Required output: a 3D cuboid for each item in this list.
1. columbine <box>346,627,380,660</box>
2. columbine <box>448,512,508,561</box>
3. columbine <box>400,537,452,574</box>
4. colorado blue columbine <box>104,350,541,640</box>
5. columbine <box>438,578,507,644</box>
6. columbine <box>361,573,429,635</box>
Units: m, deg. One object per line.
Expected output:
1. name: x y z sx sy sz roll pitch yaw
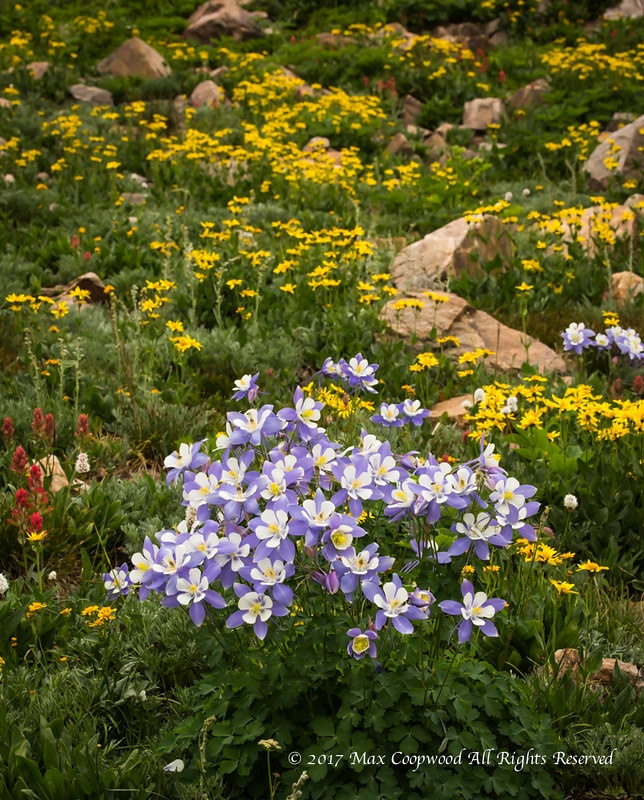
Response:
1. columbine: 0.145 0.837 3.576 0.105 0.107 0.067 3 -17 -2
2. columbine: 0.560 0.490 3.773 0.185 0.182 0.086 25 2 3
3. columbine: 0.395 0.575 3.897 0.160 0.159 0.067 -21 -36 26
4. colorado blue columbine: -0.003 0.433 3.971 1.479 0.958 0.995 -1 17 7
5. columbine: 0.516 0.736 3.694 0.222 0.246 0.209 -3 17 -1
6. columbine: 0.258 0.685 3.575 0.232 0.199 0.150 -3 17 -1
